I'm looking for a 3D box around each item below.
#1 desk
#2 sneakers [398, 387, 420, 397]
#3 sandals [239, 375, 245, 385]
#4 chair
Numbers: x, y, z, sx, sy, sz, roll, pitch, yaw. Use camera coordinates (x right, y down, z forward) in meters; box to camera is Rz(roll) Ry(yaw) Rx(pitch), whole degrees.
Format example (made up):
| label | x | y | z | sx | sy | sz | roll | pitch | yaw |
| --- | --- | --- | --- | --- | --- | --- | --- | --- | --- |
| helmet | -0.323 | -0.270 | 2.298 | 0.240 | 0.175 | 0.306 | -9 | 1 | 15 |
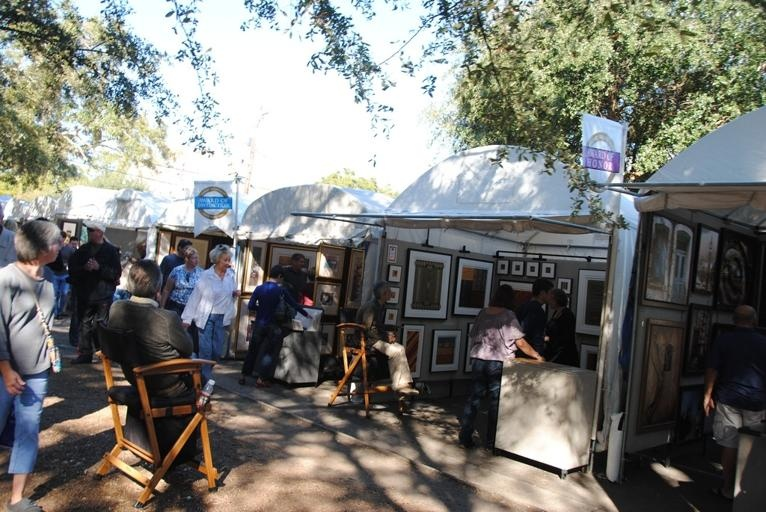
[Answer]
| label | x | y | z | sx | sy | sz | roll | pitch | yaw |
| --- | --- | --- | --- | --- | --- | --- | --- | --- | --- |
| desk | 2.226 | 2.246 | 7.416 | 1.225 | 1.331 | 0.681 | 2 | -8 | 40 |
| sneakers | 0.440 | 2.203 | 9.016 | 0.277 | 0.130 | 0.379 | -1 | -8 | 9 |
| sandals | -2.540 | 2.226 | 9.876 | 0.137 | 0.160 | 0.144 | 3 | -9 | 19 |
| chair | -2.596 | 1.528 | 6.389 | 1.341 | 2.168 | 1.598 | -1 | 3 | -35 |
